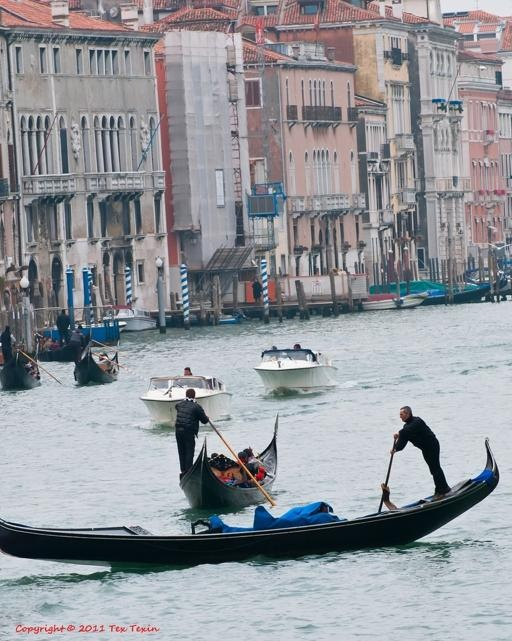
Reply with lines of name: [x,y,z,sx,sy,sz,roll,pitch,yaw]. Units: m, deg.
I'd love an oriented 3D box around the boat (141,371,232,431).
boat: [-1.563,1.711,37.484,0.892,0.792,1.926,2,7,9]

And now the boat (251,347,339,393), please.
boat: [0.995,1.282,44.552,2.056,0.947,1.553,-4,1,-1]

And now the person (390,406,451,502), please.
person: [2.213,1.795,23.326,0.694,1.445,0.536,-4,19,39]

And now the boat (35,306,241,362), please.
boat: [-4.687,0.570,64.189,1.582,2.228,7.969,6,6,41]

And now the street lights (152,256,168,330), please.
street lights: [-4.060,-0.996,72.197,0.349,3.258,0.435,-6,18,-12]

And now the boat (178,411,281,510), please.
boat: [-0.171,2.353,26.686,0.576,0.779,2.354,19,18,26]
